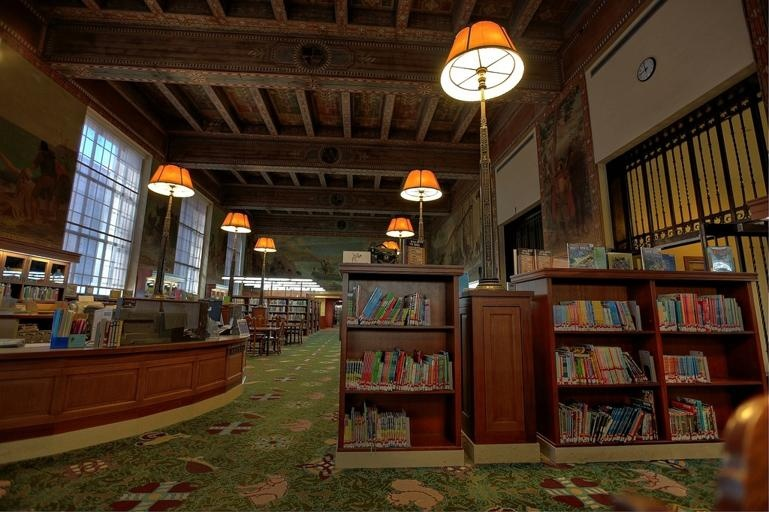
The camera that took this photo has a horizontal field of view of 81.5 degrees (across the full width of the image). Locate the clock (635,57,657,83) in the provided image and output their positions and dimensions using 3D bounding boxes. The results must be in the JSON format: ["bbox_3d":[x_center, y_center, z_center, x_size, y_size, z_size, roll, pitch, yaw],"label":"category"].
[{"bbox_3d":[3.911,-2.771,6.652,0.055,0.363,0.327,-4,16,-16],"label":"clock"}]

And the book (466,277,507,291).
[{"bbox_3d":[1.546,0.406,6.652,0.835,0.169,0.729,0,-5,1],"label":"book"}]

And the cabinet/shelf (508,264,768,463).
[{"bbox_3d":[2.838,1.263,5.115,2.512,1.891,0.765,0,-10,-3],"label":"cabinet/shelf"}]

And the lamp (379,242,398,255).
[{"bbox_3d":[0.060,-0.139,6.050,0.218,0.187,0.207,0,-11,0],"label":"lamp"}]
